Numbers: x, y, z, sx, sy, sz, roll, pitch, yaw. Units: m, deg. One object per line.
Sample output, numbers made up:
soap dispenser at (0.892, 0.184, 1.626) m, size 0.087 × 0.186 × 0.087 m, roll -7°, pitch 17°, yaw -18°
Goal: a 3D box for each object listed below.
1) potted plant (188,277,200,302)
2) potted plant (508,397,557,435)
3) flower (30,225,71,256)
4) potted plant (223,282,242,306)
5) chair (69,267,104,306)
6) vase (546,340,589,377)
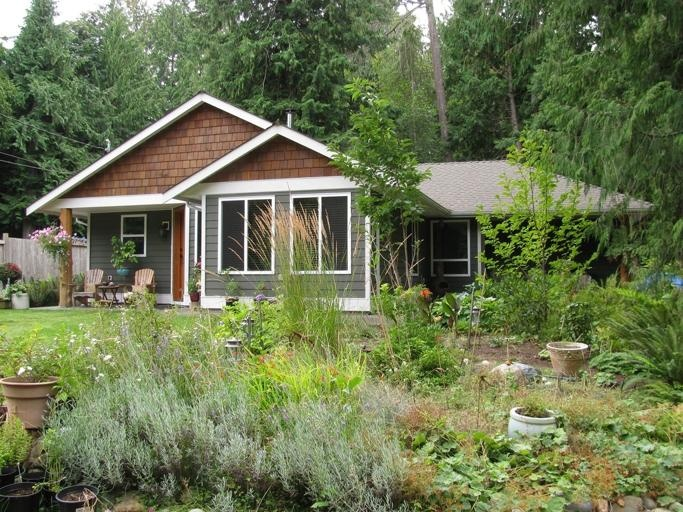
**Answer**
potted plant at (-3.282, 0.752, 15.125) m, size 0.255 × 0.436 × 0.555 m, roll -4°, pitch 12°, yaw -13°
potted plant at (1.874, 1.572, 6.682) m, size 0.316 × 0.262 × 0.348 m, roll -3°, pitch -3°, yaw 17°
flower at (-6.731, -0.342, 15.762) m, size 0.789 × 0.663 × 0.840 m, roll 0°, pitch 3°, yaw -30°
potted plant at (-2.131, 0.748, 13.319) m, size 0.349 × 0.509 × 0.342 m, roll 0°, pitch -7°, yaw -2°
chair at (-5.949, 0.735, 15.994) m, size 0.588 × 1.044 × 0.929 m, roll 0°, pitch 6°, yaw 10°
vase at (2.687, 1.212, 8.190) m, size 0.367 × 0.327 × 0.409 m, roll 0°, pitch -2°, yaw -6°
